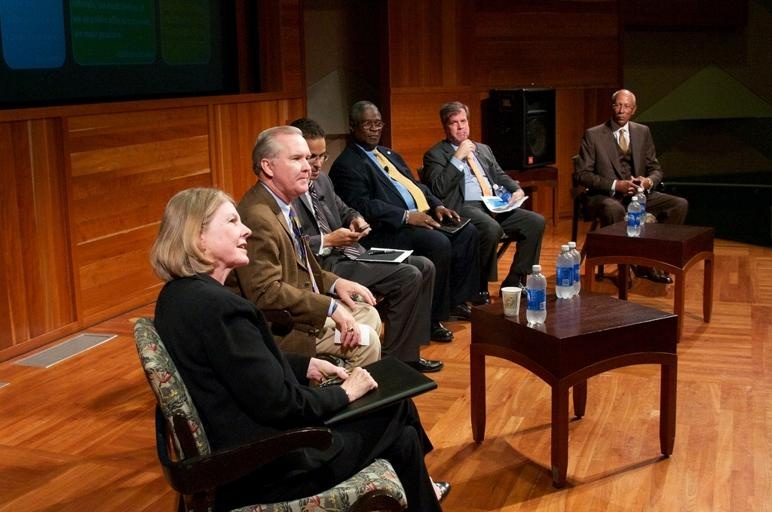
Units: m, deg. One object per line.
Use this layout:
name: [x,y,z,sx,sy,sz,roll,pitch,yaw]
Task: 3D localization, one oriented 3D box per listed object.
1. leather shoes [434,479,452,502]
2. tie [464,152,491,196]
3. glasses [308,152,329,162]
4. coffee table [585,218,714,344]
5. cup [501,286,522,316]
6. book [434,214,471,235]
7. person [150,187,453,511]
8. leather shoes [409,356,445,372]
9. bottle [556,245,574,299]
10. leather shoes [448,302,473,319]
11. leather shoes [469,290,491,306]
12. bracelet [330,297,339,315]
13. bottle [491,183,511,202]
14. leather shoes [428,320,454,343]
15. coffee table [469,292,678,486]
leather shoes: [0.252,1.055,2.615,0.071,0.055,0.194,-2,2,9]
tie: [0.828,-0.727,5.237,0.272,0.364,0.108,-25,-9,-41]
glasses: [-0.432,-0.627,3.684,0.144,0.049,0.145,-6,8,-39]
coffee table: [2.131,0.157,4.773,0.890,0.844,0.966,9,16,43]
cup: [0.664,0.232,2.966,0.139,0.128,0.133,-1,4,0]
book: [0.505,-0.244,4.596,0.178,0.042,0.187,12,31,29]
person: [-0.412,0.142,2.917,1.395,1.940,0.867,-12,14,-23]
leather shoes: [0.278,0.744,3.919,0.296,0.116,0.095,-3,11,-1]
bottle: [0.970,0.080,3.140,0.116,0.297,0.106,-3,16,1]
leather shoes: [0.567,0.449,4.757,0.309,0.131,0.107,-3,6,13]
leather shoes: [0.790,0.353,4.815,0.111,0.122,0.302,-2,-4,21]
bracelet: [-0.259,0.251,2.864,0.050,0.064,0.028,3,-21,37]
bottle: [1.027,-0.568,5.204,0.102,0.059,0.219,-43,49,1]
leather shoes: [0.408,0.583,4.435,0.100,0.098,0.239,-4,3,-36]
coffee table: [0.961,0.636,3.003,0.960,0.730,0.639,-8,16,-18]
